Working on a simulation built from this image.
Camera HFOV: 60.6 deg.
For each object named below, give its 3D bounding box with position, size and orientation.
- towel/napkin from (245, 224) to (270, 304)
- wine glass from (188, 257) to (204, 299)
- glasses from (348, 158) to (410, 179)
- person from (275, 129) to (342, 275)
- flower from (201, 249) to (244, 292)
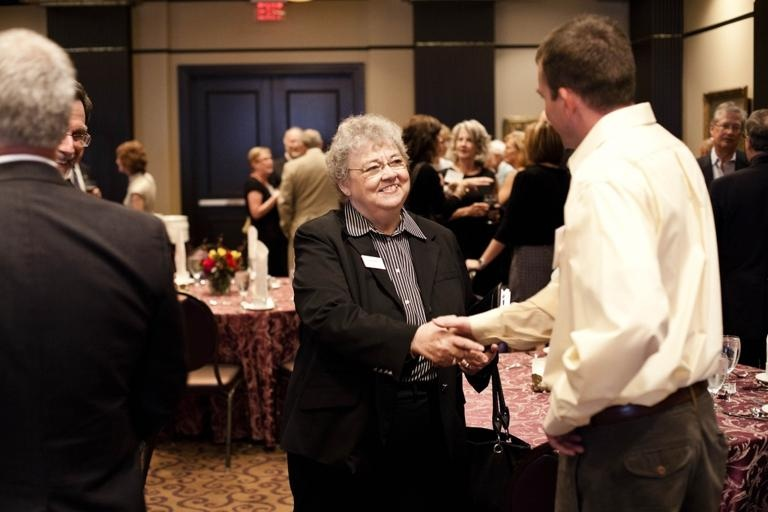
[{"bbox_3d":[-0.760,0.125,4.076,0.176,0.367,0.160,3,0,-6],"label":"towel/napkin"},{"bbox_3d":[-1.353,0.120,4.756,0.146,0.252,0.139,-5,11,-22],"label":"wine glass"},{"bbox_3d":[-0.003,-0.315,2.334,0.108,0.031,0.109,-7,-13,-46],"label":"glasses"},{"bbox_3d":[-0.738,-0.318,6.147,0.594,1.754,0.494,-13,28,-35],"label":"person"},{"bbox_3d":[-1.115,0.095,4.488,0.307,0.334,0.319,4,7,-26],"label":"flower"}]
